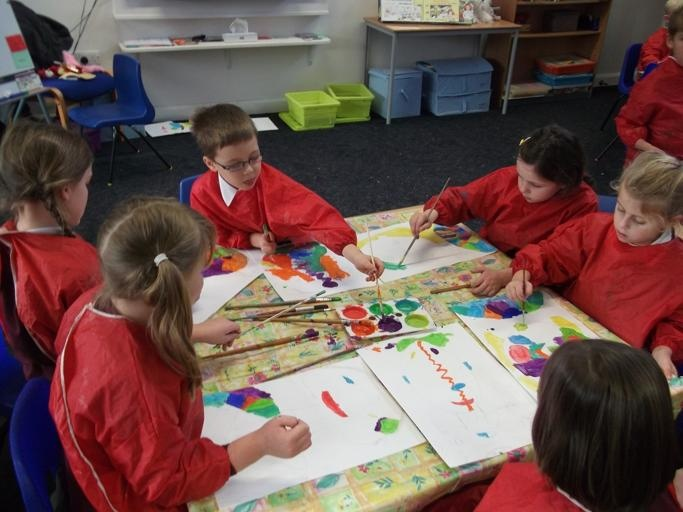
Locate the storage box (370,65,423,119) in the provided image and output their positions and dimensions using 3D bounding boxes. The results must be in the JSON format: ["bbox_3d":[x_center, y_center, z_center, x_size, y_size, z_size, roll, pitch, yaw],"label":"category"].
[{"bbox_3d":[0.482,-1.623,4.898,0.542,0.499,0.513,-7,30,-14],"label":"storage box"}]

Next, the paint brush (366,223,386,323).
[{"bbox_3d":[0.107,0.051,1.571,0.030,0.007,0.281,-6,59,-4],"label":"paint brush"}]

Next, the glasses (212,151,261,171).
[{"bbox_3d":[-0.368,-0.319,1.686,0.167,0.048,0.059,-4,28,0],"label":"glasses"}]

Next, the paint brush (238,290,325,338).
[{"bbox_3d":[-0.177,0.174,1.412,0.217,0.020,0.016,-28,23,-19],"label":"paint brush"}]

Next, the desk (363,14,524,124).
[{"bbox_3d":[0.979,-1.846,4.751,1.437,0.940,0.686,-11,29,-11],"label":"desk"}]

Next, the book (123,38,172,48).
[{"bbox_3d":[-1.595,-1.708,3.949,0.397,0.068,0.365,-14,29,-18],"label":"book"}]

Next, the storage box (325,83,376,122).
[{"bbox_3d":[0.081,-1.521,4.770,0.340,0.198,0.481,-4,30,-8],"label":"storage box"}]

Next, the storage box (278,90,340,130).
[{"bbox_3d":[-0.329,-1.381,4.575,0.488,0.195,0.462,-9,34,-19],"label":"storage box"}]

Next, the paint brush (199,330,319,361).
[{"bbox_3d":[-0.229,0.244,1.300,0.344,0.028,0.025,-8,50,-20],"label":"paint brush"}]
